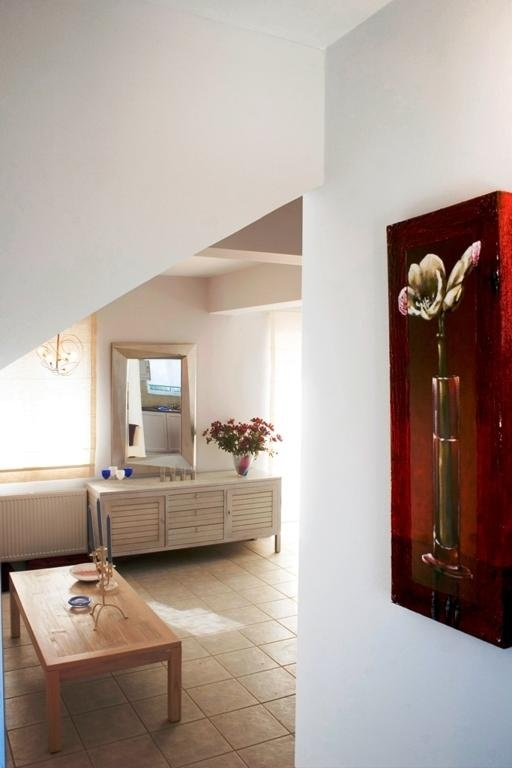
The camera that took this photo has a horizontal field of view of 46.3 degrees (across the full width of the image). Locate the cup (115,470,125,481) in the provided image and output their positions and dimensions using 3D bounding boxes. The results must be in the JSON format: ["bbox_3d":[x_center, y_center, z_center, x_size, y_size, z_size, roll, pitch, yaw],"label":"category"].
[{"bbox_3d":[-1.115,0.744,4.923,0.073,0.091,0.075,0,7,0],"label":"cup"}]

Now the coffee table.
[{"bbox_3d":[-0.727,1.399,2.748,0.500,0.330,1.044,1,6,-24],"label":"coffee table"}]

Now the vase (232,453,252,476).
[{"bbox_3d":[-0.121,0.709,5.369,0.171,0.210,0.166,-3,5,-38],"label":"vase"}]

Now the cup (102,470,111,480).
[{"bbox_3d":[-1.229,0.742,4.943,0.061,0.073,0.072,3,5,10],"label":"cup"}]

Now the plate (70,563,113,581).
[{"bbox_3d":[-0.911,1.042,3.320,0.169,0.043,0.171,0,4,-42],"label":"plate"}]

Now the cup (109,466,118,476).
[{"bbox_3d":[-1.169,0.713,4.955,0.066,0.085,0.071,2,7,0],"label":"cup"}]

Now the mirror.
[{"bbox_3d":[-0.880,0.209,5.259,0.699,1.244,0.099,1,26,-5],"label":"mirror"}]

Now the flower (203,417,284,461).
[{"bbox_3d":[-0.128,0.465,5.481,0.461,0.321,0.445,0,5,6],"label":"flower"}]

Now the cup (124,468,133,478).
[{"bbox_3d":[-1.068,0.744,5.032,0.058,0.074,0.067,3,6,12],"label":"cup"}]
